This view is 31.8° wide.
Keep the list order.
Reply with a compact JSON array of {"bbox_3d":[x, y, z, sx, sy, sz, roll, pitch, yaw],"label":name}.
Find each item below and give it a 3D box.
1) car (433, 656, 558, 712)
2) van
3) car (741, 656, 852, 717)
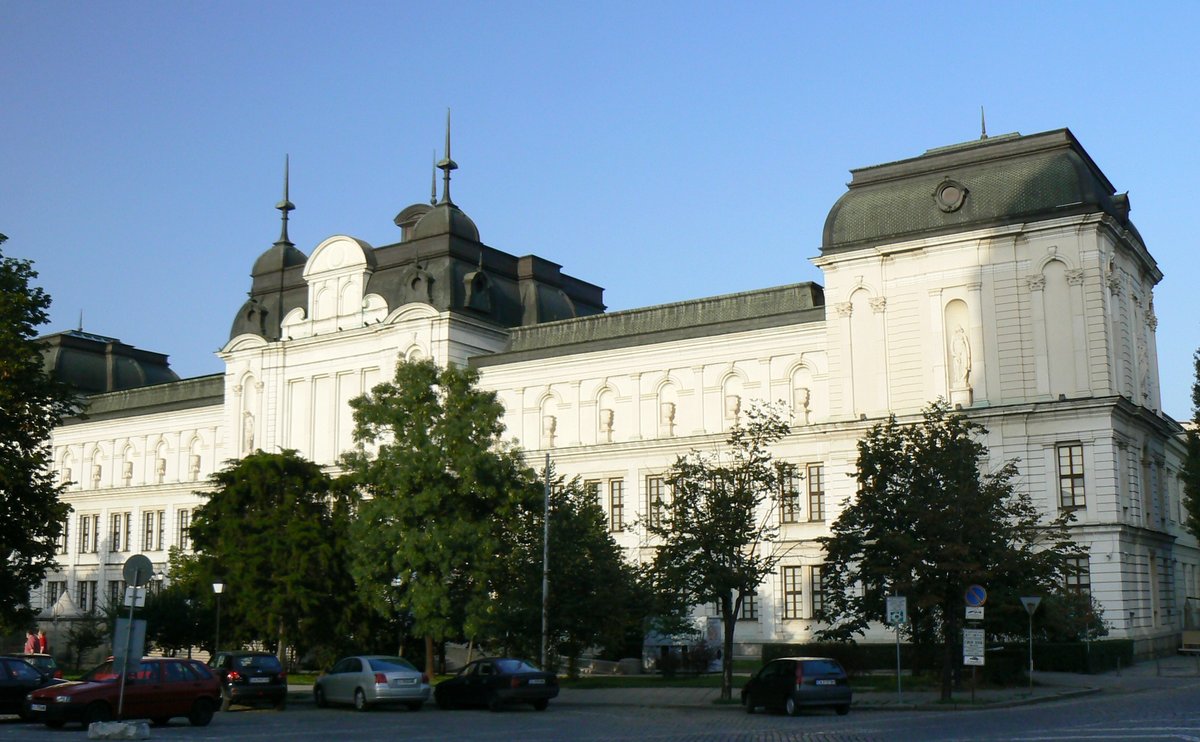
[{"bbox_3d":[-5.233,15.861,105.952,5.892,2.652,1.420,-6,-18,19],"label":"car"},{"bbox_3d":[-22.096,15.244,99.490,8.145,3.181,2.087,2,-17,-10],"label":"van"},{"bbox_3d":[9.755,15.747,104.882,3.721,2.438,6.128,3,-8,-21],"label":"car"}]
